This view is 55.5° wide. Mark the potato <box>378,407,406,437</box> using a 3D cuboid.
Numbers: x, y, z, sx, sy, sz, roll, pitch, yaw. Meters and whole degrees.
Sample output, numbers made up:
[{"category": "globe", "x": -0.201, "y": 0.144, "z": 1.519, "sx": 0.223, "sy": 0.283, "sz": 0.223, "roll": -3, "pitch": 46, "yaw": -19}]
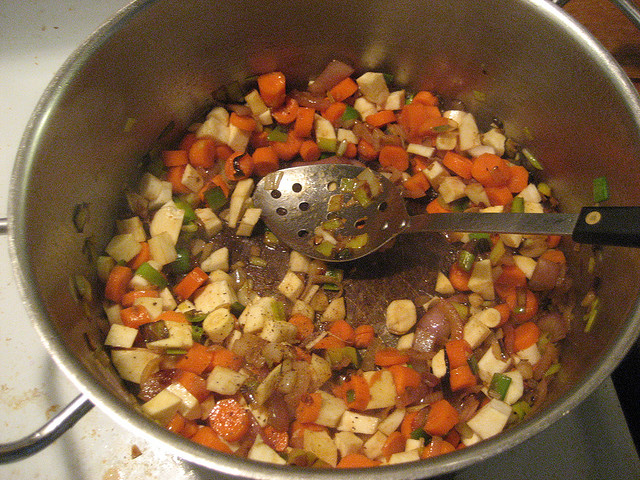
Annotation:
[{"category": "potato", "x": 0.233, "y": 0.581, "z": 1.949, "sx": 0.052, "sy": 0.034, "sz": 0.104, "roll": 41, "pitch": 68, "yaw": 5}]

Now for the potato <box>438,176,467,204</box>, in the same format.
[{"category": "potato", "x": 0.468, "y": -0.182, "z": 2.166, "sx": 0.104, "sy": 0.070, "sz": 0.083, "roll": -6, "pitch": 89, "yaw": -11}]

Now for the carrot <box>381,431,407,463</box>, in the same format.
[{"category": "carrot", "x": 0.233, "y": 0.654, "z": 1.920, "sx": 0.090, "sy": 0.021, "sz": 0.082, "roll": -16, "pitch": 115, "yaw": -21}]

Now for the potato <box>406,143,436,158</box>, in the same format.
[{"category": "potato", "x": 0.373, "y": -0.329, "z": 2.241, "sx": 0.103, "sy": 0.019, "sz": 0.047, "roll": 8, "pitch": 86, "yaw": 11}]

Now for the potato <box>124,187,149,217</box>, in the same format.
[{"category": "potato", "x": -0.635, "y": -0.126, "z": 2.133, "sx": 0.022, "sy": 0.086, "sz": 0.051, "roll": -11, "pitch": 53, "yaw": -37}]

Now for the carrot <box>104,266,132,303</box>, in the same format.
[{"category": "carrot", "x": -0.670, "y": 0.147, "z": 2.001, "sx": 0.041, "sy": 0.088, "sz": 0.095, "roll": 12, "pitch": 36, "yaw": 16}]

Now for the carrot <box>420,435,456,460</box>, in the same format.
[{"category": "carrot", "x": 0.358, "y": 0.643, "z": 1.912, "sx": 0.114, "sy": 0.040, "sz": 0.060, "roll": -17, "pitch": 84, "yaw": -3}]

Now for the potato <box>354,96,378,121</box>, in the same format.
[{"category": "potato", "x": 0.182, "y": -0.496, "z": 2.296, "sx": 0.087, "sy": 0.040, "sz": 0.080, "roll": 34, "pitch": 122, "yaw": 8}]

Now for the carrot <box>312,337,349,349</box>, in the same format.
[{"category": "carrot", "x": 0.031, "y": 0.342, "z": 2.026, "sx": 0.130, "sy": 0.033, "sz": 0.035, "roll": 4, "pitch": 90, "yaw": -5}]

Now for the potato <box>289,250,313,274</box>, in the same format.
[{"category": "potato", "x": -0.070, "y": 0.079, "z": 2.175, "sx": 0.087, "sy": 0.055, "sz": 0.071, "roll": 15, "pitch": 81, "yaw": -4}]

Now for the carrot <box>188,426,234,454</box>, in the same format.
[{"category": "carrot", "x": -0.321, "y": 0.590, "z": 1.795, "sx": 0.120, "sy": 0.116, "sz": 0.039, "roll": 26, "pitch": 89, "yaw": -7}]

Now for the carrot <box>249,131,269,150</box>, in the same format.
[{"category": "carrot", "x": -0.229, "y": -0.366, "z": 2.254, "sx": 0.075, "sy": 0.067, "sz": 0.060, "roll": -14, "pitch": 110, "yaw": -44}]

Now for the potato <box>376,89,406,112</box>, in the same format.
[{"category": "potato", "x": 0.255, "y": -0.502, "z": 2.238, "sx": 0.094, "sy": 0.062, "sz": 0.080, "roll": 4, "pitch": 94, "yaw": 24}]

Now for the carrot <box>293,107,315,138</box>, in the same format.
[{"category": "carrot", "x": -0.062, "y": -0.431, "z": 2.210, "sx": 0.061, "sy": 0.100, "sz": 0.095, "roll": 11, "pitch": 79, "yaw": 1}]

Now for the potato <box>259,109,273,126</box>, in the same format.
[{"category": "potato", "x": -0.203, "y": -0.446, "z": 2.235, "sx": 0.055, "sy": 0.048, "sz": 0.045, "roll": 2, "pitch": 54, "yaw": -9}]

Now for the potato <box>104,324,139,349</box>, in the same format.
[{"category": "potato", "x": -0.625, "y": 0.307, "z": 1.924, "sx": 0.079, "sy": 0.049, "sz": 0.072, "roll": 12, "pitch": 84, "yaw": 1}]

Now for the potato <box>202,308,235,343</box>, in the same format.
[{"category": "potato", "x": -0.332, "y": 0.281, "z": 2.005, "sx": 0.101, "sy": 0.039, "sz": 0.107, "roll": -30, "pitch": 85, "yaw": -4}]

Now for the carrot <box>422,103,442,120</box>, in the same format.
[{"category": "carrot", "x": 0.408, "y": -0.463, "z": 2.201, "sx": 0.057, "sy": 0.018, "sz": 0.048, "roll": 14, "pitch": 87, "yaw": -7}]

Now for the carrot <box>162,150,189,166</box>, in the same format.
[{"category": "carrot", "x": -0.520, "y": -0.291, "z": 2.173, "sx": 0.070, "sy": 0.063, "sz": 0.035, "roll": 0, "pitch": 98, "yaw": -15}]

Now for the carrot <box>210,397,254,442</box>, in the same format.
[{"category": "carrot", "x": -0.286, "y": 0.563, "z": 1.902, "sx": 0.114, "sy": 0.027, "sz": 0.131, "roll": -44, "pitch": 86, "yaw": -5}]

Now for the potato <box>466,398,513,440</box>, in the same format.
[{"category": "potato", "x": 0.528, "y": 0.556, "z": 1.895, "sx": 0.144, "sy": 0.032, "sz": 0.110, "roll": -16, "pitch": 36, "yaw": 24}]

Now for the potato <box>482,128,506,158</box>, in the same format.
[{"category": "potato", "x": 0.631, "y": -0.355, "z": 2.201, "sx": 0.104, "sy": 0.030, "sz": 0.088, "roll": 24, "pitch": 109, "yaw": 24}]

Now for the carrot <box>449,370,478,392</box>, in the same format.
[{"category": "carrot", "x": 0.465, "y": 0.457, "z": 1.973, "sx": 0.114, "sy": 0.076, "sz": 0.053, "roll": -8, "pitch": 71, "yaw": 11}]

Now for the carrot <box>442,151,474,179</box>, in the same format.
[{"category": "carrot", "x": 0.500, "y": -0.263, "z": 2.199, "sx": 0.096, "sy": 0.098, "sz": 0.036, "roll": 33, "pitch": 102, "yaw": 26}]

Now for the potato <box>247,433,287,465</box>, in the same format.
[{"category": "potato", "x": -0.170, "y": 0.643, "z": 1.850, "sx": 0.112, "sy": 0.034, "sz": 0.100, "roll": 20, "pitch": 33, "yaw": 1}]

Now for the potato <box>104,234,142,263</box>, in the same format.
[{"category": "potato", "x": -0.660, "y": 0.028, "z": 2.034, "sx": 0.098, "sy": 0.061, "sz": 0.091, "roll": 30, "pitch": 74, "yaw": -13}]

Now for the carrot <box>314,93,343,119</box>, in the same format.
[{"category": "carrot", "x": 0.027, "y": -0.484, "z": 2.259, "sx": 0.118, "sy": 0.086, "sz": 0.081, "roll": 2, "pitch": 97, "yaw": -7}]

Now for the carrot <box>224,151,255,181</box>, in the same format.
[{"category": "carrot", "x": -0.289, "y": -0.259, "z": 2.186, "sx": 0.106, "sy": 0.072, "sz": 0.097, "roll": -17, "pitch": 91, "yaw": 4}]

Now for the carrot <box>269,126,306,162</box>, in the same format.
[{"category": "carrot", "x": -0.125, "y": -0.345, "z": 2.204, "sx": 0.116, "sy": 0.046, "sz": 0.119, "roll": -46, "pitch": 111, "yaw": 1}]

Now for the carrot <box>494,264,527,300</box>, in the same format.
[{"category": "carrot", "x": 0.649, "y": 0.141, "z": 2.080, "sx": 0.124, "sy": 0.047, "sz": 0.107, "roll": 19, "pitch": 93, "yaw": 5}]

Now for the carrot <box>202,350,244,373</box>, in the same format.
[{"category": "carrot", "x": -0.306, "y": 0.385, "z": 1.960, "sx": 0.135, "sy": 0.087, "sz": 0.063, "roll": 7, "pitch": 92, "yaw": 9}]

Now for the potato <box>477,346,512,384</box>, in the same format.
[{"category": "potato", "x": 0.557, "y": 0.418, "z": 2.005, "sx": 0.093, "sy": 0.082, "sz": 0.127, "roll": 35, "pitch": 62, "yaw": 26}]

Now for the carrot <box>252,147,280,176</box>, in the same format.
[{"category": "carrot", "x": -0.197, "y": -0.279, "z": 2.260, "sx": 0.113, "sy": 0.104, "sz": 0.087, "roll": -5, "pitch": 71, "yaw": 7}]

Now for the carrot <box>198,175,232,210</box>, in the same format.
[{"category": "carrot", "x": -0.373, "y": -0.165, "z": 2.228, "sx": 0.128, "sy": 0.058, "sz": 0.118, "roll": 30, "pitch": 66, "yaw": 0}]

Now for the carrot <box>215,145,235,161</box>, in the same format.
[{"category": "carrot", "x": -0.358, "y": -0.316, "z": 2.216, "sx": 0.049, "sy": 0.050, "sz": 0.032, "roll": 3, "pitch": 116, "yaw": 4}]

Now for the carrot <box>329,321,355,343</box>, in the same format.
[{"category": "carrot", "x": 0.079, "y": 0.303, "z": 2.075, "sx": 0.076, "sy": 0.073, "sz": 0.068, "roll": -35, "pitch": 76, "yaw": -13}]

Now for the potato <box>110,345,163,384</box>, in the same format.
[{"category": "potato", "x": -0.588, "y": 0.382, "z": 1.896, "sx": 0.139, "sy": 0.055, "sz": 0.102, "roll": 21, "pitch": 84, "yaw": 2}]

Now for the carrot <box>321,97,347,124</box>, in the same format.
[{"category": "carrot", "x": 0.050, "y": -0.486, "z": 2.312, "sx": 0.084, "sy": 0.085, "sz": 0.096, "roll": 38, "pitch": 79, "yaw": -39}]
